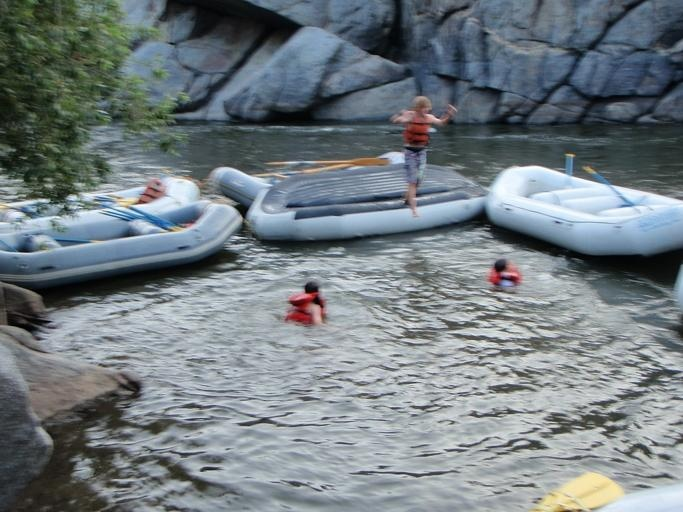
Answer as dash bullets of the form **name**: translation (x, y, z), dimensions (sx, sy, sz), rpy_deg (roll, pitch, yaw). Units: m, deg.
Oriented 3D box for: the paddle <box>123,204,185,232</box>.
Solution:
- **paddle**: translation (-3.143, -0.608, 10.036), dimensions (1.497, 0.300, 0.142), rpy_deg (15, 55, 14)
